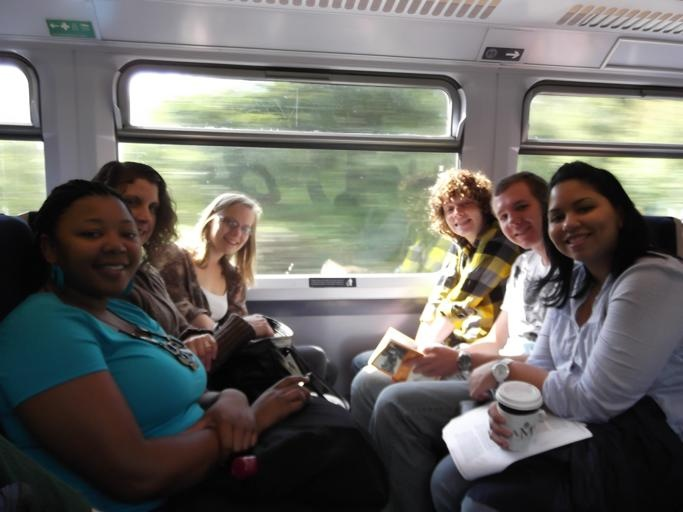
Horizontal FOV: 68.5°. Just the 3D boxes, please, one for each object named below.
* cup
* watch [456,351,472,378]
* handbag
[{"bbox_3d":[0.585,0.542,1.658,0.150,0.175,0.189,-4,16,-25],"label":"cup"},{"bbox_3d":[0.543,0.495,2.283,0.068,0.101,0.099,-2,-12,9],"label":"watch"},{"bbox_3d":[-0.225,0.452,2.057,0.412,0.159,0.337,38,13,0],"label":"handbag"}]
